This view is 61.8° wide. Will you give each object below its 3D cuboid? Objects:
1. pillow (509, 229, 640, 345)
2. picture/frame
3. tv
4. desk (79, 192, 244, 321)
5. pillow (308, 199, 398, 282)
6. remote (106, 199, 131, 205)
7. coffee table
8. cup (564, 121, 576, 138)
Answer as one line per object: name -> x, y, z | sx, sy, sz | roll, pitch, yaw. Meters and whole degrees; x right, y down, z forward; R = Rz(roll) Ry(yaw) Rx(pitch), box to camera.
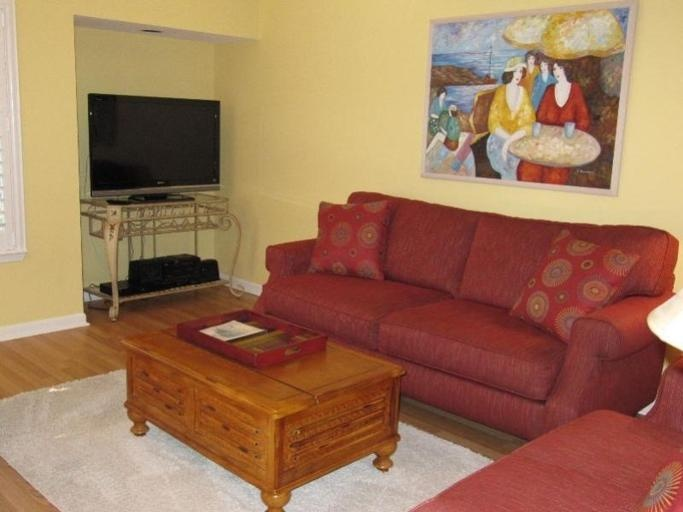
pillow -> 1.281, 0.221, 3.023 | 0.167, 0.530, 0.550 | 33, 1, -24
picture/frame -> 1.262, -1.036, 3.703 | 1.466, 1.105, 0.028 | 10, 14, 38
tv -> -1.627, -0.911, 4.800 | 1.083, 0.716, 0.090 | -7, 14, -39
desk -> -1.595, -0.085, 5.067 | 1.253, 0.837, 0.761 | -7, 18, -36
pillow -> 0.069, -0.115, 3.971 | 0.606, 0.543, 0.162 | 8, -8, 32
remote -> -1.767, -0.426, 4.508 | 0.182, 0.020, 0.296 | -5, 15, -21
coffee table -> -0.213, 0.451, 2.586 | 1.099, 0.478, 0.806 | 13, 16, 43
cup -> 1.442, -0.801, 3.592 | 0.086, 0.091, 0.084 | -6, 24, 3
